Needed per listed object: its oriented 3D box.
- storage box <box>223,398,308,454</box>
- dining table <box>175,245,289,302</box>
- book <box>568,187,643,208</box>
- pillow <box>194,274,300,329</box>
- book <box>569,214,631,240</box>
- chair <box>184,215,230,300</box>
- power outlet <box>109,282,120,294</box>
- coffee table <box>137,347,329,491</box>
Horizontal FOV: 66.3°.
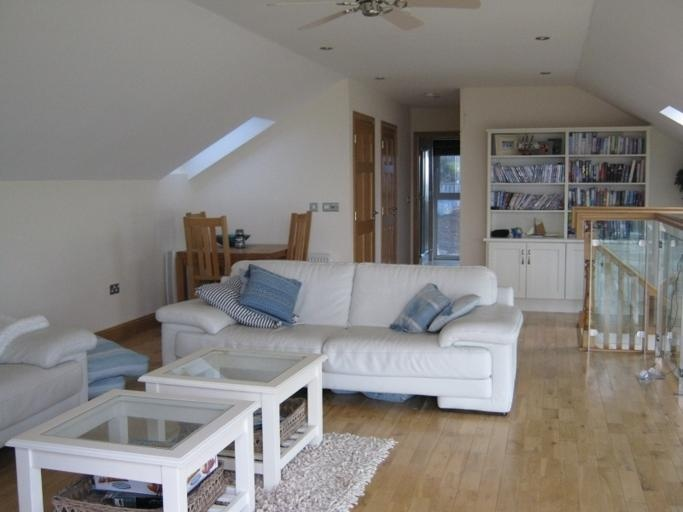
[{"bbox_3d":[-0.403,0.887,2.702,0.310,0.135,0.644,-1,11,10],"label":"storage box"},{"bbox_3d":[-1.368,0.019,6.198,1.175,0.830,0.689,2,10,9],"label":"dining table"},{"bbox_3d":[3.251,-0.728,6.448,0.845,0.233,0.287,3,9,25],"label":"book"},{"bbox_3d":[-0.847,0.386,4.136,0.491,0.151,0.500,32,14,21],"label":"pillow"},{"bbox_3d":[2.357,-0.271,4.864,0.336,0.283,0.736,-1,8,1],"label":"book"},{"bbox_3d":[-1.681,0.033,5.852,0.539,0.881,0.530,-7,-1,36],"label":"chair"},{"bbox_3d":[-2.369,0.330,5.442,0.013,0.078,0.128,-2,1,17],"label":"power outlet"},{"bbox_3d":[-0.541,0.721,3.021,0.857,0.564,0.674,1,5,21],"label":"coffee table"}]
